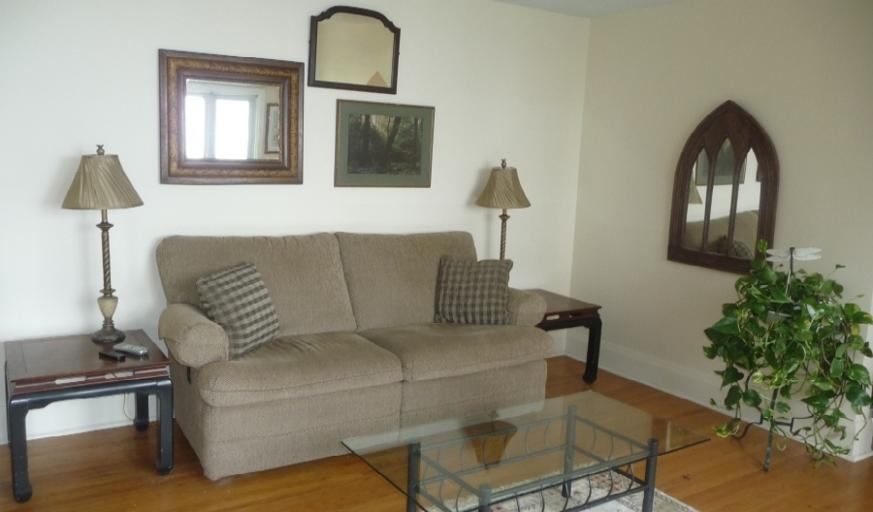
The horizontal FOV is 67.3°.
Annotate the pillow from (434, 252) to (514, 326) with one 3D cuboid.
[{"bbox_3d":[0.300,0.274,5.396,0.651,0.517,0.183,2,-14,7],"label":"pillow"}]

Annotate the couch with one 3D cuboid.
[{"bbox_3d":[-0.553,0.626,5.211,3.018,1.358,1.364,-3,17,-35],"label":"couch"}]

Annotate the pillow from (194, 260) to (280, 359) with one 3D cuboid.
[{"bbox_3d":[-1.420,0.380,4.746,0.569,0.608,0.467,-3,9,-19],"label":"pillow"}]

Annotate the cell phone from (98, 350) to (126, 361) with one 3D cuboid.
[{"bbox_3d":[-2.206,0.677,4.456,0.156,0.028,0.084,4,9,29],"label":"cell phone"}]

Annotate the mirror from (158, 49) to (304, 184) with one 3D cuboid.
[{"bbox_3d":[-1.575,-1.061,5.167,0.075,1.020,1.249,25,22,38],"label":"mirror"}]

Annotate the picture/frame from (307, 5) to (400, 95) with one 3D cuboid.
[{"bbox_3d":[-0.721,-1.722,5.411,0.890,0.660,0.048,-2,12,-28],"label":"picture/frame"}]

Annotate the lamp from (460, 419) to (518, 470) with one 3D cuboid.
[{"bbox_3d":[0.339,1.178,4.141,0.254,0.057,0.245,-14,25,-34],"label":"lamp"}]

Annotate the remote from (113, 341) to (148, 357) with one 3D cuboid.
[{"bbox_3d":[-2.095,0.639,4.497,0.196,0.054,0.113,11,11,-9],"label":"remote"}]

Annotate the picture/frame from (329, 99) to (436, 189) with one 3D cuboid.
[{"bbox_3d":[-0.451,-0.955,5.646,1.006,0.725,0.020,8,13,28],"label":"picture/frame"}]

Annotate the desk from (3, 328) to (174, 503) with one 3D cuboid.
[{"bbox_3d":[-2.386,1.070,4.533,0.973,0.923,0.782,-4,9,-27],"label":"desk"}]
